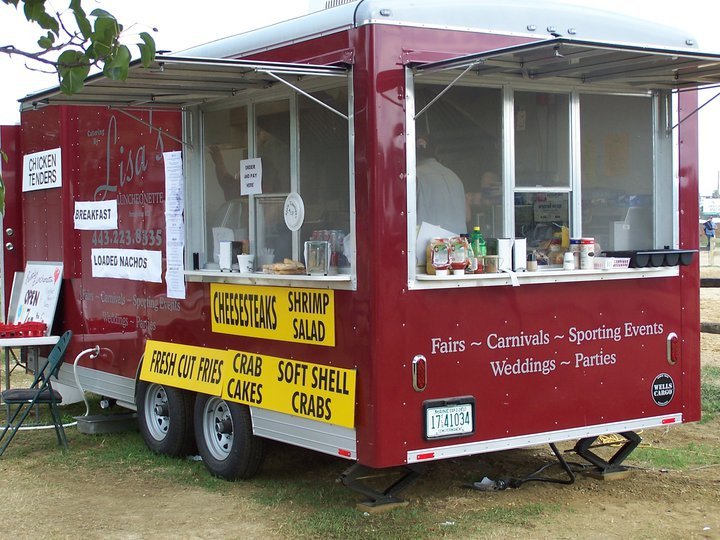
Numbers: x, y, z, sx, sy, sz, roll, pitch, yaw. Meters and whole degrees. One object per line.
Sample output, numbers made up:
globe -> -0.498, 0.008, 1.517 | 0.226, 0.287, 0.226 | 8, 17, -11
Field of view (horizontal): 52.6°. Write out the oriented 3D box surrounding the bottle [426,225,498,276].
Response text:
bottle -> 0.713, -0.139, 5.151 | 0.552, 0.327, 0.202 | -2, 2, -33

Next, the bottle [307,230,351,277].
bottle -> -0.241, -0.137, 5.303 | 0.225, 0.288, 0.364 | 0, 2, -24

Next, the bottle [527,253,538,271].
bottle -> 1.279, -0.070, 5.466 | 0.103, 0.187, 0.118 | -1, 3, 13

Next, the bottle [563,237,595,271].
bottle -> 1.656, -0.127, 5.514 | 0.264, 0.236, 0.126 | -1, 1, -5

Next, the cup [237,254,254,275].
cup -> -0.931, -0.054, 5.957 | 0.119, 0.151, 0.135 | -1, -10, -4
